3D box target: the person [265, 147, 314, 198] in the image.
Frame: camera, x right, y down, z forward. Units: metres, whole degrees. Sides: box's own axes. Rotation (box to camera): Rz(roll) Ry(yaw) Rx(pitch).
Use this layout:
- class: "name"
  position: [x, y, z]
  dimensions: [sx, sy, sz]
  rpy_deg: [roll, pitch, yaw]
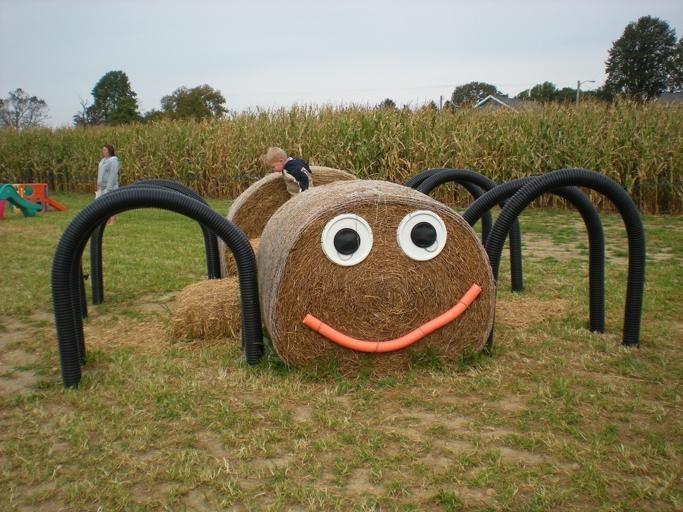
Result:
- class: "person"
  position: [-0.640, -0.987, 7.052]
  dimensions: [0.488, 0.578, 0.918]
  rpy_deg: [-4, 10, -17]

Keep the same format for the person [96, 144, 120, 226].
- class: "person"
  position: [-5.278, -1.976, 13.377]
  dimensions: [0.494, 1.089, 1.505]
  rpy_deg: [-5, 10, -22]
